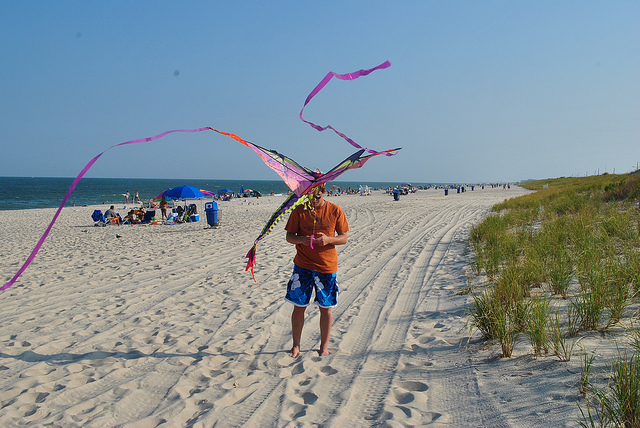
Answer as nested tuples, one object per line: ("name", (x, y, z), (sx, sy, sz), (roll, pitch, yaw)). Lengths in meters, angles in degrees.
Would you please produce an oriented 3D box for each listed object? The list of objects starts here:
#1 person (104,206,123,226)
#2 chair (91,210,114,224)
("person", (-8.563, 0.088, 20.257), (0.534, 0.810, 0.800), (5, 15, 8))
("chair", (-8.941, 0.033, 20.123), (0.510, 0.325, 0.609), (-7, 20, -25))
